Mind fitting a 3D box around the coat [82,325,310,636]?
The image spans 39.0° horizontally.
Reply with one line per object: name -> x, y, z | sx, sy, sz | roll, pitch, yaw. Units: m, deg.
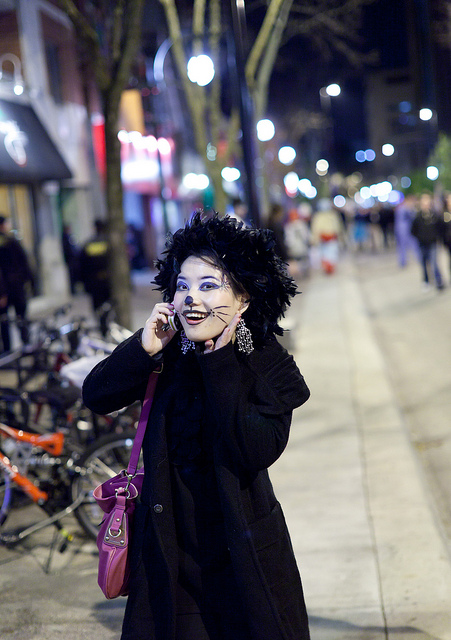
coat -> -0.058, 0.429, 1.688 | 0.606, 0.708, 0.368 | -9, 4, 12

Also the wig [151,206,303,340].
wig -> -0.020, -0.131, 1.796 | 0.414, 0.304, 0.243 | -9, 3, 7
